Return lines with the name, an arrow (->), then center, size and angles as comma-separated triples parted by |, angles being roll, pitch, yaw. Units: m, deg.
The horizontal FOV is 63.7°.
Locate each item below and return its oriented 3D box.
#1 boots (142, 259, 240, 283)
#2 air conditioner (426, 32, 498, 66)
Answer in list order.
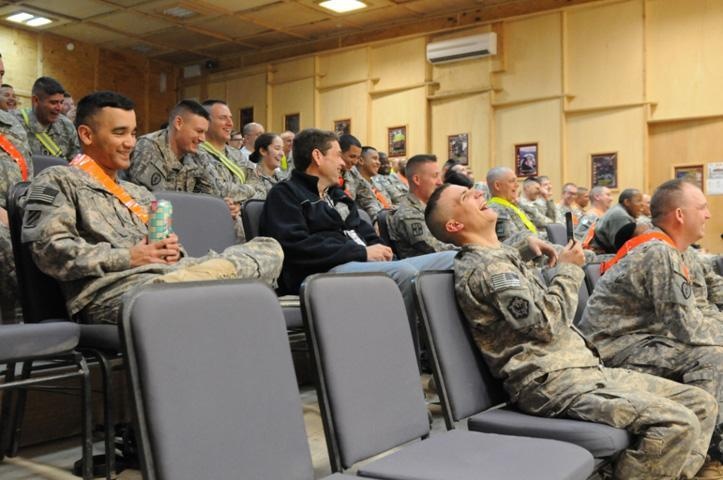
boots -> -0.732, 0.149, 2.701 | 0.329, 0.084, 0.189 | -6, 16, -41
air conditioner -> 1.812, -3.519, 10.602 | 1.484, 0.393, 0.640 | 5, 3, 31
